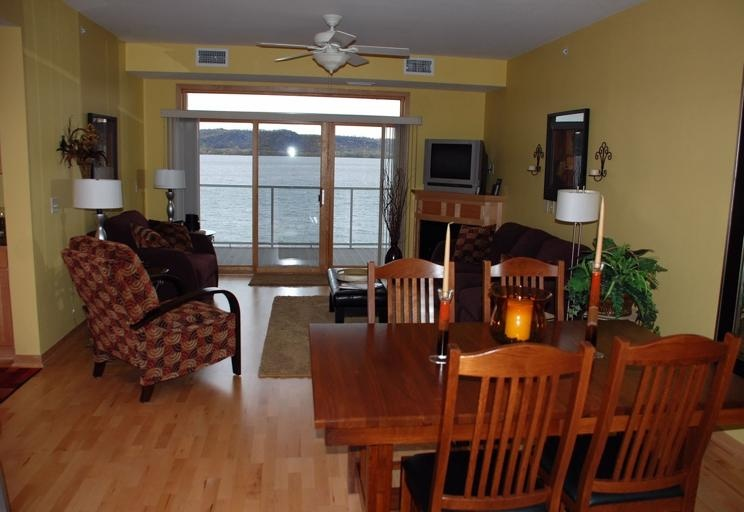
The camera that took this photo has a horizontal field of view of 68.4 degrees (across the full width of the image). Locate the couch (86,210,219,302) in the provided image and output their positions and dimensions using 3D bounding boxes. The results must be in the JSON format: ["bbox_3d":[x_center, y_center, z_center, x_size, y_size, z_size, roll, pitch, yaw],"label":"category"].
[{"bbox_3d":[-2.442,-0.087,6.386,1.198,1.037,1.270,0,15,-8],"label":"couch"}]

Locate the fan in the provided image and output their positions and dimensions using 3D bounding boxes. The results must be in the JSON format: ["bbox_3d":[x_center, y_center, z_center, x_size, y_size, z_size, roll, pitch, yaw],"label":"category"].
[{"bbox_3d":[-0.469,-2.368,5.957,1.149,0.460,1.050,-5,8,-34],"label":"fan"}]

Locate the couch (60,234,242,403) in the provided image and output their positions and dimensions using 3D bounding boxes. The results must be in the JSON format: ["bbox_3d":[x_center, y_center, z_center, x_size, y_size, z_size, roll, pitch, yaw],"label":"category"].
[{"bbox_3d":[-1.908,0.321,5.100,1.106,1.554,1.599,12,15,37],"label":"couch"}]

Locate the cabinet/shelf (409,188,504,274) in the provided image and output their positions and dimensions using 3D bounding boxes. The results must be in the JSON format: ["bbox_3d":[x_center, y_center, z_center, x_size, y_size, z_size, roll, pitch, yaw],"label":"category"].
[{"bbox_3d":[1.154,-0.365,7.073,1.048,0.931,0.376,15,22,40],"label":"cabinet/shelf"}]

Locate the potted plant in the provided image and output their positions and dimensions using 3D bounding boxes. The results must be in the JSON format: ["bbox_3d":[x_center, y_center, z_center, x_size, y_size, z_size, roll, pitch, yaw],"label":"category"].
[{"bbox_3d":[1.756,0.155,3.836,0.798,0.577,0.785,-14,18,-41],"label":"potted plant"}]

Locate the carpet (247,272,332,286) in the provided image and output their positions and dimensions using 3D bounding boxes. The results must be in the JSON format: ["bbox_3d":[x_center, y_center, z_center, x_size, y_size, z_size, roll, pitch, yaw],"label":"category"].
[{"bbox_3d":[-1.235,0.336,8.197,1.127,0.051,0.847,0,10,-7],"label":"carpet"}]

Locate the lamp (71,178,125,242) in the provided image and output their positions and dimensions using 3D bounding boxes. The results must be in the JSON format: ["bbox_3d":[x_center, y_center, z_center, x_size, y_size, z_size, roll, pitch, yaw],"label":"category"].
[{"bbox_3d":[-2.613,-0.434,5.237,0.346,0.587,0.331,7,12,28],"label":"lamp"}]

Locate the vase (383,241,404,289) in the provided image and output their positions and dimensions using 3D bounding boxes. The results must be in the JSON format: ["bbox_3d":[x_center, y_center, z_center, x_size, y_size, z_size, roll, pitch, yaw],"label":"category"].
[{"bbox_3d":[0.332,-0.040,8.423,0.313,0.449,0.299,1,0,-5],"label":"vase"}]
